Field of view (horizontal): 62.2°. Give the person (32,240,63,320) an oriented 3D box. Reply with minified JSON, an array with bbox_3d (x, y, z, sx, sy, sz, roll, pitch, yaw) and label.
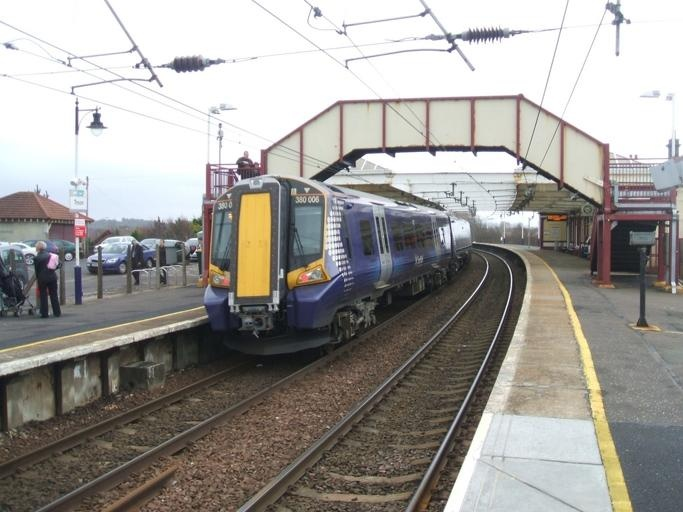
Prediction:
[{"bbox_3d":[-7.429,0.582,14.328,0.545,1.895,0.696,-6,5,-29],"label":"person"}]
